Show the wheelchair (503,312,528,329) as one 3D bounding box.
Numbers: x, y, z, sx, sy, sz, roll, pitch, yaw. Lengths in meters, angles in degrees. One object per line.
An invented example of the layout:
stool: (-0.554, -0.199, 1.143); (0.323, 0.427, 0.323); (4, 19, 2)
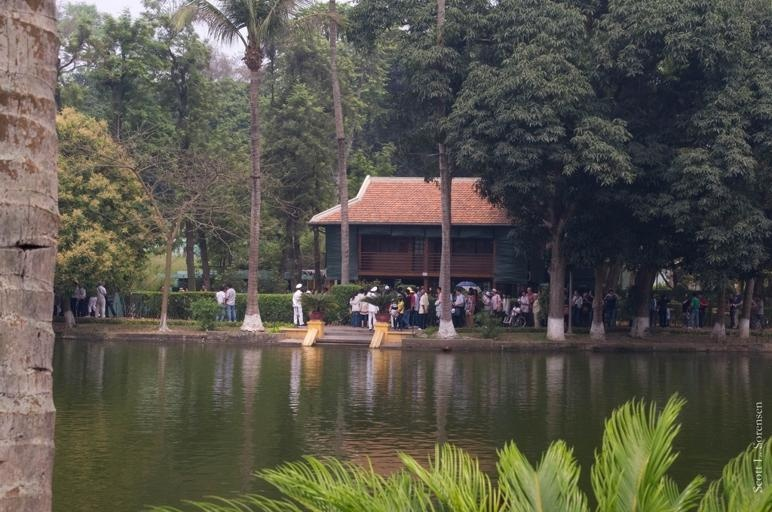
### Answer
wheelchair: (7.218, 3.694, 80.351); (0.723, 0.715, 1.270); (6, -12, -35)
